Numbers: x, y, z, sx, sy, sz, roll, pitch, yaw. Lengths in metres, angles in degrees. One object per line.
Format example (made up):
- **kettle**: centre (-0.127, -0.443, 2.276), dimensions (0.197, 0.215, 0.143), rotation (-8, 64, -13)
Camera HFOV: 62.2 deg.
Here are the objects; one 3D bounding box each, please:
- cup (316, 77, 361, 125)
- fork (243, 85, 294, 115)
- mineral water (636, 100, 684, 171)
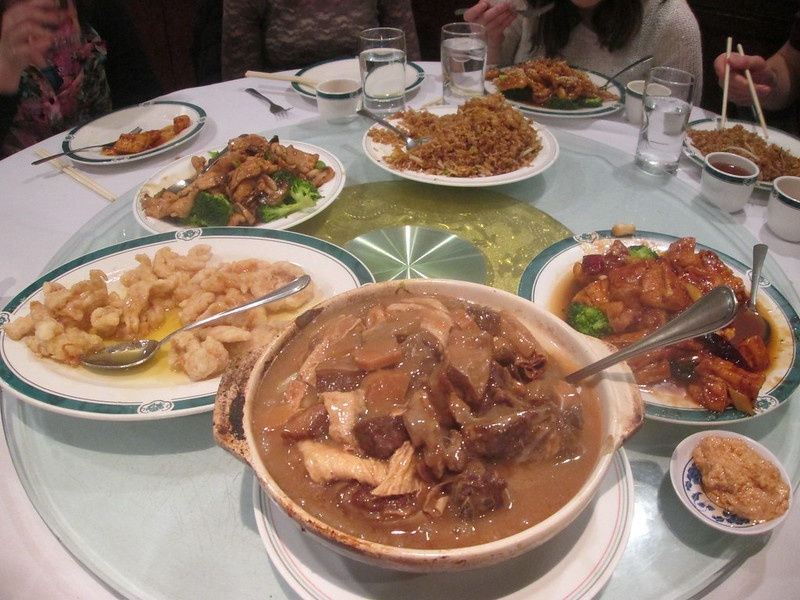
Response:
- **cup**: centre (-0.347, -1.141, 4.021), dimensions (0.274, 0.220, 0.294), rotation (0, 50, 0)
- **fork**: centre (-0.805, -1.241, 4.121), dimensions (0.122, 0.063, 0.502), rotation (-33, 48, -14)
- **mineral water**: centre (1.384, -0.869, 3.483), dimensions (0.240, 0.388, 0.256), rotation (-21, 35, -38)
